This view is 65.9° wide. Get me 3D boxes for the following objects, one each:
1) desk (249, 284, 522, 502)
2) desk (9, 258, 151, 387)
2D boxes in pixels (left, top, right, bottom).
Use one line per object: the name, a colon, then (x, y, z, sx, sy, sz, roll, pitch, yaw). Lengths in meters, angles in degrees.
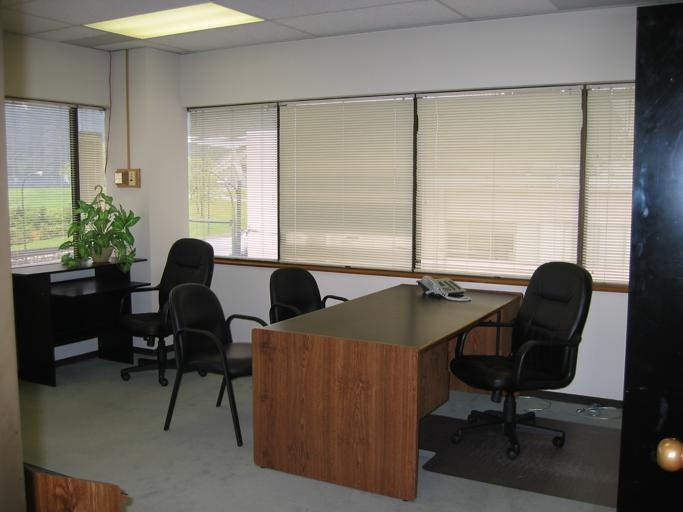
desk: (0.325, 0.839, 3.635, 1.106, 0.907, 1.588, 4, 8, 34)
desk: (-2.447, 0.622, 4.903, 0.831, 0.963, 1.081, 3, 7, 22)
